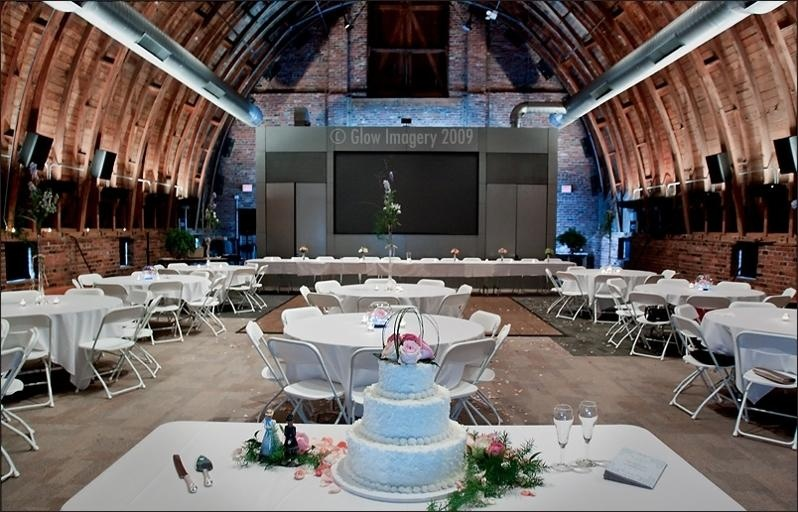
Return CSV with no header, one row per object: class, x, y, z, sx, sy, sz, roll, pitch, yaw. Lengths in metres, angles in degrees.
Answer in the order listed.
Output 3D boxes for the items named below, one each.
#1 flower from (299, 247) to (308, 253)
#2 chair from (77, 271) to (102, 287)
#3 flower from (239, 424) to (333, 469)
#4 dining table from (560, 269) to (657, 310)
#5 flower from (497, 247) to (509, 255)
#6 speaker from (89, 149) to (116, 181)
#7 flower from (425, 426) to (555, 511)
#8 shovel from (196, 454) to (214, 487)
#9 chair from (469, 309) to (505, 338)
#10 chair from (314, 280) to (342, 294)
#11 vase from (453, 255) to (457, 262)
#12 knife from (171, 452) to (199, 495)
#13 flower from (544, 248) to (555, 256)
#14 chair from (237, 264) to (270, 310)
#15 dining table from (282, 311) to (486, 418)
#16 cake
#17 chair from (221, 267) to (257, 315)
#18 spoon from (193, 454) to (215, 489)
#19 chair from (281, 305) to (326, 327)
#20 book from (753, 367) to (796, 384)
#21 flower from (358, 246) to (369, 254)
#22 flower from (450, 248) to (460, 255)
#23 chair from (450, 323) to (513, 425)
flower,-2.620,-0.174,13.201,0.220,0.128,0.215,0,-4,4
chair,-5.321,0.416,8.256,0.336,0.409,0.374,0,-2,-36
flower,-0.734,1.243,3.073,0.381,0.115,0.278,1,-1,1
dining table,4.380,0.702,9.872,1.338,0.622,1.367,-1,-2,33
flower,2.903,-0.118,13.342,0.298,0.152,0.327,-1,-2,10
speaker,-7.483,-2.338,12.169,0.580,0.731,0.352,-6,15,-28
flower,0.573,1.332,3.010,0.485,0.217,0.475,-3,5,-5
shovel,-1.182,1.315,2.931,0.102,0.050,0.175,8,35,-24
chair,1.095,0.796,5.818,0.391,0.496,0.423,2,-5,24
chair,-1.169,0.511,7.973,0.292,0.357,0.284,1,-6,-14
vase,1.507,0.086,12.727,0.135,0.163,0.176,4,5,4
knife,-1.358,1.330,2.990,0.086,0.094,0.420,15,3,-37
flower,4.176,-0.126,13.206,0.273,0.258,0.266,0,-5,-3
chair,-3.512,0.738,11.187,0.798,0.964,0.725,6,10,10
dining table,-0.157,0.974,4.287,1.411,0.339,1.407,-1,1,-33
cake,0.043,0.993,3.141,0.910,0.859,0.921,1,0,-2
chair,-3.499,0.710,10.465,0.721,0.971,0.586,6,6,41
spoon,-1.184,1.317,2.929,0.102,0.050,0.177,6,38,-24
chair,-1.174,0.705,5.746,0.302,0.383,0.316,0,-4,-27
book,3.871,1.233,4.884,0.362,0.053,0.353,0,11,-7
flower,-0.985,-0.171,13.428,0.171,0.184,0.170,18,36,28
flower,1.572,-0.114,13.304,0.245,0.237,0.239,0,2,-1
chair,0.779,1.286,5.257,0.798,0.968,0.594,3,-5,-7
